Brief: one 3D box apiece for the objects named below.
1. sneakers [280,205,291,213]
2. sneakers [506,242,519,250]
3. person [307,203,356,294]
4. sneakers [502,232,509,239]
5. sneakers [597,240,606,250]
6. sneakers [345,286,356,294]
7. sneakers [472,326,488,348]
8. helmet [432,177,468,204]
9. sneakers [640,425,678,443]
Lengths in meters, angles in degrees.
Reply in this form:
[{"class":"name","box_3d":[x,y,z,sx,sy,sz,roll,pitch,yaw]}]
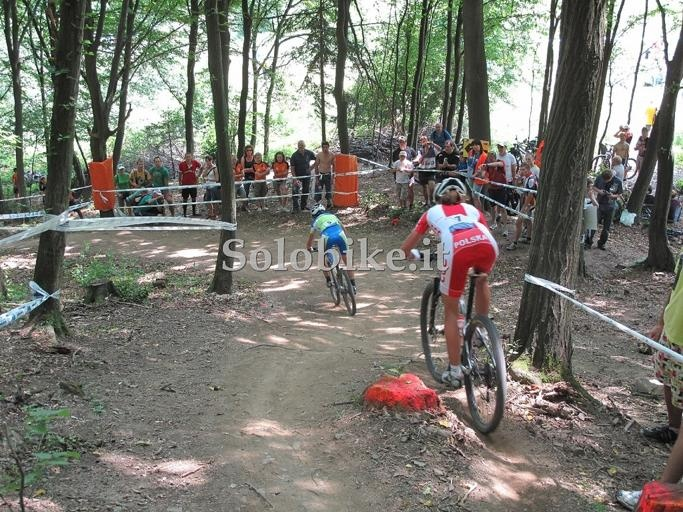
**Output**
[{"class":"sneakers","box_3d":[-1.824,-1.544,19.667,0.165,0.218,0.425,8,11,7]},{"class":"sneakers","box_3d":[4.019,-0.245,14.352,0.337,0.145,0.123,-8,11,-40]},{"class":"person","box_3d":[-0.208,-0.304,10.943,0.742,0.724,1.752,-8,44,-12]},{"class":"sneakers","box_3d":[4.102,-0.556,15.258,0.119,0.157,0.261,-1,3,2]},{"class":"sneakers","box_3d":[6.397,-0.260,15.047,0.169,0.279,0.219,-12,-17,26]},{"class":"sneakers","box_3d":[0.161,0.582,10.725,0.098,0.133,0.189,3,32,19]},{"class":"sneakers","box_3d":[1.572,0.928,6.914,0.075,0.204,0.211,3,-2,-21]},{"class":"helmet","box_3d":[1.331,-0.849,7.521,0.315,0.413,0.381,1,8,3]},{"class":"sneakers","box_3d":[3.514,1.974,6.782,0.370,0.169,0.139,9,35,24]}]
